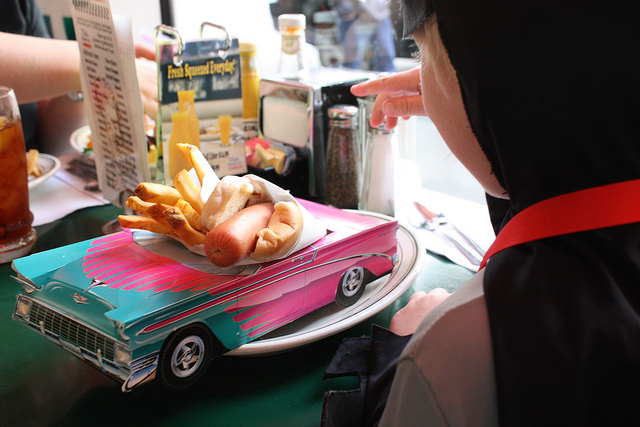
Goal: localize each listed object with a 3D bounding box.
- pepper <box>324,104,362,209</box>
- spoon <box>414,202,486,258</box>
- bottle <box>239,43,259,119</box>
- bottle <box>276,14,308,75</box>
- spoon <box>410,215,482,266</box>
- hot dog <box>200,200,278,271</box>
[{"bbox_3d":[0.054,-0.131,1.103,0.082,0.231,0.131,-10,22,-25],"label":"pepper"},{"bbox_3d":[0.266,0.029,1.013,0.042,0.029,0.235,-12,31,-26],"label":"spoon"},{"bbox_3d":[-0.168,-0.313,1.143,0.043,0.182,0.101,-3,20,-7],"label":"bottle"},{"bbox_3d":[-0.070,-0.421,1.185,0.072,0.141,0.107,-1,20,-3],"label":"bottle"},{"bbox_3d":[0.259,0.043,0.988,0.041,0.025,0.203,-12,24,-19],"label":"spoon"},{"bbox_3d":[-0.117,0.028,0.729,0.052,0.056,0.159,16,27,17],"label":"hot dog"}]
